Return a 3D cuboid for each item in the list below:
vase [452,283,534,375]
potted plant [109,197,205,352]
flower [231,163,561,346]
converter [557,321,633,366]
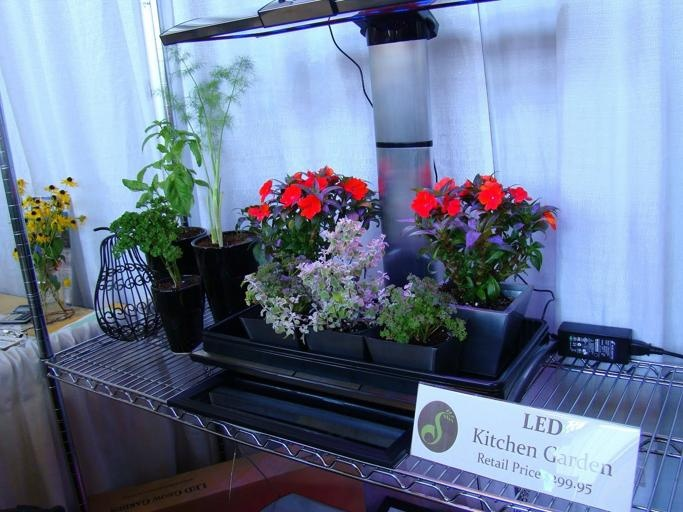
[{"bbox_3d":[0.326,0.187,1.134,0.135,0.131,0.173,4,-4,29],"label":"vase"},{"bbox_3d":[-0.515,0.056,1.426,0.214,0.406,0.276,-9,16,-25],"label":"potted plant"},{"bbox_3d":[0.090,-0.015,1.225,0.785,0.373,0.453,4,16,21],"label":"flower"},{"bbox_3d":[0.613,0.206,1.201,0.174,0.087,0.047,3,35,33],"label":"converter"}]
